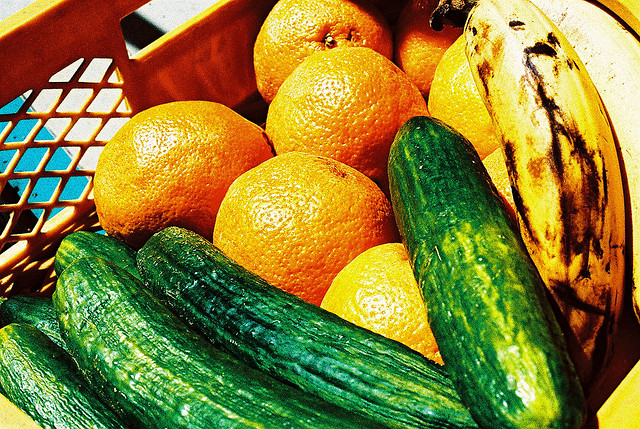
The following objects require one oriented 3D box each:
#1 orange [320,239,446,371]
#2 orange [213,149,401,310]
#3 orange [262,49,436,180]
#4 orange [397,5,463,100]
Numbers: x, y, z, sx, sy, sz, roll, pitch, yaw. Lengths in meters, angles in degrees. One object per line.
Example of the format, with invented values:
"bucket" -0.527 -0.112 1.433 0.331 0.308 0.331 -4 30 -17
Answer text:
"orange" 0.110 0.195 1.050 0.195 0.084 0.254 -15 72 -5
"orange" -0.021 0.017 1.248 0.328 0.327 0.326 2 97 3
"orange" 0.086 -0.195 1.294 0.307 0.308 0.307 -1 66 29
"orange" 0.254 -0.386 1.338 0.203 0.213 0.266 1 103 10
